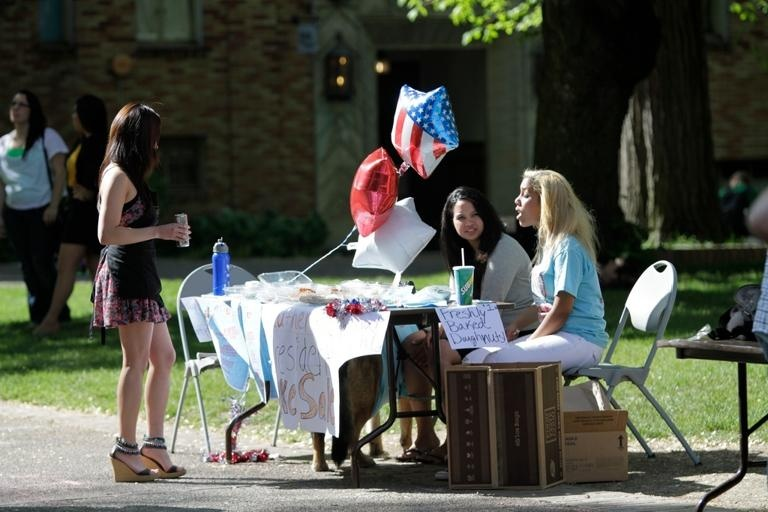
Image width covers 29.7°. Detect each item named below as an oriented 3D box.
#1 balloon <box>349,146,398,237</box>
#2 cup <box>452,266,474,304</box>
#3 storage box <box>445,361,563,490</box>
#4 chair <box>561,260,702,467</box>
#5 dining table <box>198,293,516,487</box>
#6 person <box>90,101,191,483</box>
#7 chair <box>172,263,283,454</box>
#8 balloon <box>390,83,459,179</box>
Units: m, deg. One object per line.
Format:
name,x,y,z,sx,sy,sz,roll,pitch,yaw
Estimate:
balloon,-0.096,-0.678,14.546,0.549,0.645,1.083,3,-14,3
cup,0.742,0.268,13.669,0.184,0.354,0.297,1,4,2
storage box,1.128,1.555,13.755,1.240,1.344,0.984,-1,1,8
chair,2.501,1.035,14.478,1.241,1.958,1.343,0,-1,-4
dining table,-0.338,1.068,13.789,4.168,1.922,2.176,-2,-1,6
person,-2.327,0.340,13.673,0.836,3.539,0.435,0,4,-13
chair,-1.842,1.006,15.110,1.206,1.733,1.110,1,-2,-40
balloon,0.396,-1.213,14.271,0.641,0.879,0.311,1,4,6
